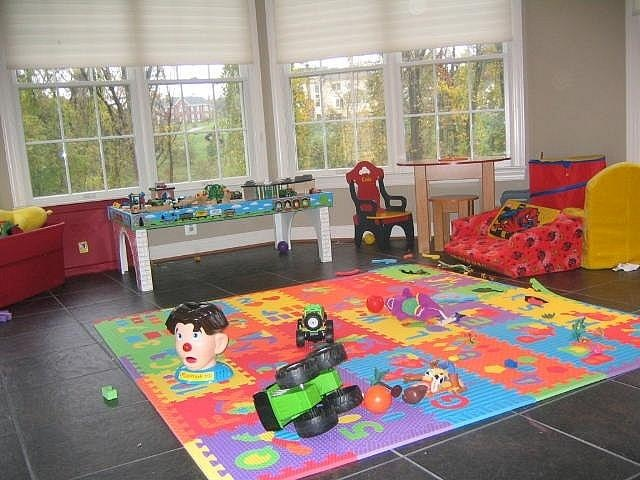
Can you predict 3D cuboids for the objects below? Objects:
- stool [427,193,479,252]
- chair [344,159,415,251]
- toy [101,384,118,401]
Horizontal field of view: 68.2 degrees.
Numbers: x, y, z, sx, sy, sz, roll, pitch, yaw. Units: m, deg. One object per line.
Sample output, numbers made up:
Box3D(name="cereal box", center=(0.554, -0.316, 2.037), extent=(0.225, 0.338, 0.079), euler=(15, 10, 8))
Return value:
Box3D(name="stool", center=(1.464, -0.205, 5.158), extent=(0.527, 0.521, 0.502), euler=(-12, 12, -38))
Box3D(name="chair", center=(0.740, -0.416, 5.654), extent=(0.790, 0.959, 0.737), euler=(2, 17, 16))
Box3D(name="toy", center=(-1.117, 0.813, 2.519), extent=(0.059, 0.036, 0.100), euler=(-2, 3, -36))
